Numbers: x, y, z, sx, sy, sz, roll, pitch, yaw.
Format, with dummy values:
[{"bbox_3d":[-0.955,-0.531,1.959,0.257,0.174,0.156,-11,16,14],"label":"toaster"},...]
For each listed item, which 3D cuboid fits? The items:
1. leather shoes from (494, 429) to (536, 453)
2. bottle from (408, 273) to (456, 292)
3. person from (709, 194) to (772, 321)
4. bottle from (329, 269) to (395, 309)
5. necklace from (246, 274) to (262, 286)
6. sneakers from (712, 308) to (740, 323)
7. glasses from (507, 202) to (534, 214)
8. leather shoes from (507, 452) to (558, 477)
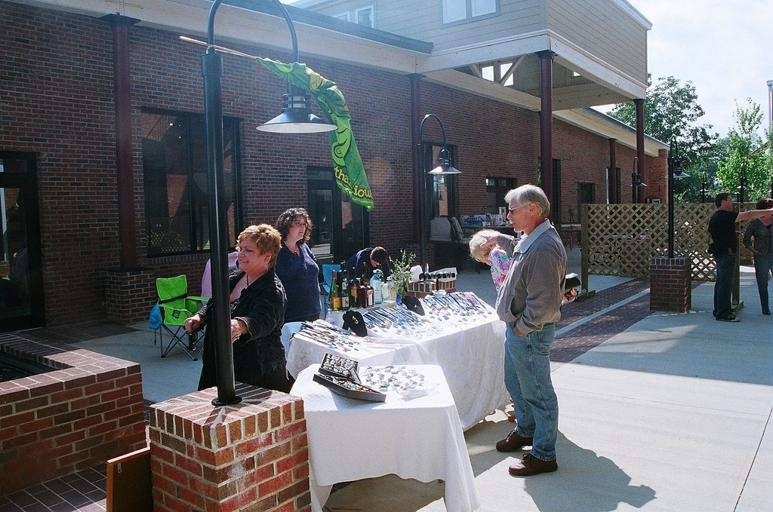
[{"bbox_3d":[1.304,1.906,6.174,0.435,0.183,0.157,0,-3,-5],"label":"leather shoes"},{"bbox_3d":[0.582,0.362,7.652,0.586,0.236,0.324,-1,11,1],"label":"bottle"},{"bbox_3d":[6.272,-0.007,10.905,0.808,2.266,1.167,5,12,31],"label":"person"},{"bbox_3d":[-0.299,0.380,6.998,0.579,0.437,0.433,-2,0,11],"label":"bottle"},{"bbox_3d":[-1.247,0.225,5.631,0.128,0.128,0.112,6,-9,-35],"label":"necklace"},{"bbox_3d":[6.117,1.070,10.720,0.509,0.221,0.189,-2,0,39],"label":"sneakers"},{"bbox_3d":[1.254,-0.456,5.748,0.082,0.108,0.237,-11,15,-42],"label":"glasses"},{"bbox_3d":[1.411,2.039,5.892,0.501,0.211,0.183,2,-6,-2],"label":"leather shoes"}]
